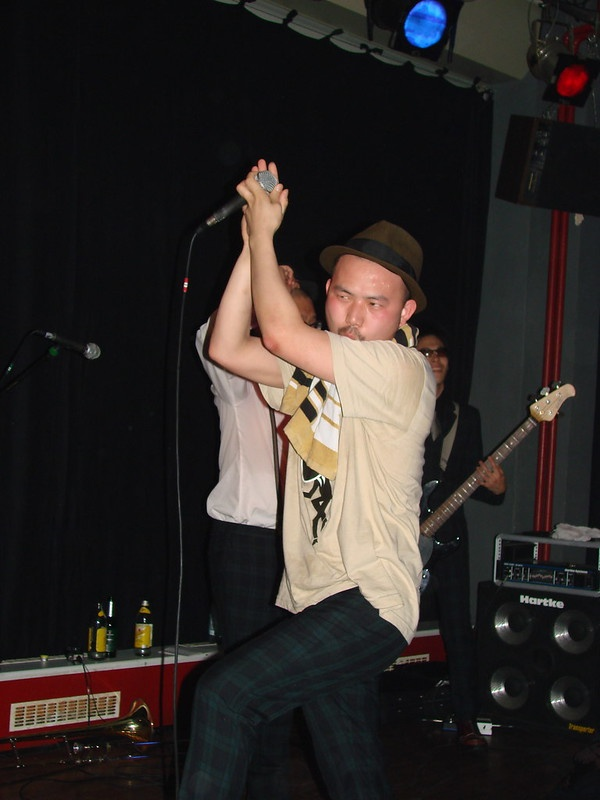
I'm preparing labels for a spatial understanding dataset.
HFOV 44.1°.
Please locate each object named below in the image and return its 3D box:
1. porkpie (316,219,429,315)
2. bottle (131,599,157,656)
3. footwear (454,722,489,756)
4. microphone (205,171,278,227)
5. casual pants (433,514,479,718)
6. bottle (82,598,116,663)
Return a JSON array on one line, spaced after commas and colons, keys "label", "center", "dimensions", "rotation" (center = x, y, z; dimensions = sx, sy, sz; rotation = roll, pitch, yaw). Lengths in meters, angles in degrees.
[{"label": "porkpie", "center": [0.176, -0.246, 1.552], "dimensions": [0.198, 0.114, 0.222], "rotation": [18, -15, 39]}, {"label": "bottle", "center": [-0.651, 0.949, 3.099], "dimensions": [0.071, 0.209, 0.138], "rotation": [5, -8, -12]}, {"label": "footwear", "center": [0.708, 1.394, 3.049], "dimensions": [0.124, 0.088, 0.151], "rotation": [1, -8, 13]}, {"label": "microphone", "center": [-0.121, -0.360, 1.362], "dimensions": [0.170, 0.054, 0.043], "rotation": [-34, -57, 7]}, {"label": "casual pants", "center": [0.668, 0.967, 3.168], "dimensions": [0.080, 0.722, 0.272], "rotation": [-3, -3, 9]}, {"label": "bottle", "center": [-0.785, 0.922, 2.973], "dimensions": [0.097, 0.216, 0.130], "rotation": [4, -8, -10]}]
